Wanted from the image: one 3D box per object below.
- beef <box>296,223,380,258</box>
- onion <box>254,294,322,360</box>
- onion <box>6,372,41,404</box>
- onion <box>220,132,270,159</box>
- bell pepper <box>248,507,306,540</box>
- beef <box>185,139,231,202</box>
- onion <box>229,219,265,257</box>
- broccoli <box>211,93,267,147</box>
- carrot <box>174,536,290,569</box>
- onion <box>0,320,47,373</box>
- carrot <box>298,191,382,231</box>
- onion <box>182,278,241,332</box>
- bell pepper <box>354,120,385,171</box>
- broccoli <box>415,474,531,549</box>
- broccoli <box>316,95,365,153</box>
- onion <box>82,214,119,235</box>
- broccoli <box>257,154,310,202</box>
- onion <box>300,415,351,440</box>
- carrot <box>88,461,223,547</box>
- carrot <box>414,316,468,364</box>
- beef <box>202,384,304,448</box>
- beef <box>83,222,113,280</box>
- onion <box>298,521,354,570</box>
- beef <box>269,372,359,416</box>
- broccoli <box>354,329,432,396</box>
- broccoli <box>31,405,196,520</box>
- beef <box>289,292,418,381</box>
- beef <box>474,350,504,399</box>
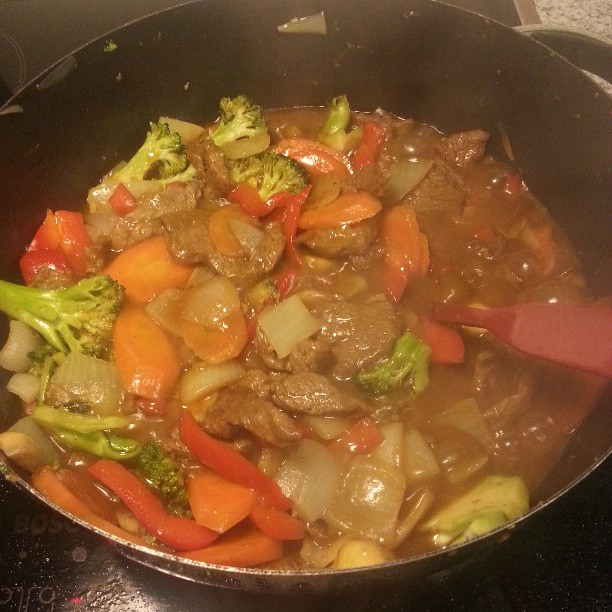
[{"bbox_3d":[0.148,-0.299,3.247,0.237,0.182,0.066,7,38,1],"label":"beef"},{"bbox_3d":[-0.080,0.085,3.074,0.255,0.072,0.272,-34,89,-19],"label":"onion"},{"bbox_3d":[-1.184,0.332,2.976,0.121,0.129,0.128,3,63,31],"label":"onion"},{"bbox_3d":[-0.294,-0.796,3.463,0.189,0.049,0.139,-20,63,-12],"label":"onion"},{"bbox_3d":[-0.105,0.838,2.686,0.154,0.125,0.044,31,102,-9],"label":"bell pepper"},{"bbox_3d":[-0.474,-0.671,3.399,0.200,0.075,0.324,-8,92,40],"label":"beef"},{"bbox_3d":[-0.268,-0.323,3.210,0.170,0.041,0.132,45,73,0],"label":"onion"},{"bbox_3d":[-0.349,-0.945,3.557,0.268,0.121,0.247,-33,77,-17],"label":"broccoli"},{"bbox_3d":[-0.264,0.923,2.637,0.257,0.165,0.078,5,94,-2],"label":"carrot"},{"bbox_3d":[-1.238,0.172,3.004,0.158,0.080,0.226,0,87,-6],"label":"onion"},{"bbox_3d":[0.156,-0.447,3.287,0.307,0.074,0.203,-21,35,7],"label":"carrot"},{"bbox_3d":[-0.407,-0.001,3.047,0.197,0.062,0.219,26,70,8],"label":"onion"},{"bbox_3d":[0.337,-0.849,3.656,0.056,0.208,0.271,23,50,-15],"label":"bell pepper"},{"bbox_3d":[0.694,0.819,2.808,0.385,0.105,0.252,-26,32,-13],"label":"broccoli"},{"bbox_3d":[0.192,-0.942,3.817,0.211,0.143,0.349,-14,89,-2],"label":"broccoli"},{"bbox_3d":[-1.017,-0.418,3.439,0.129,0.053,0.164,5,55,10],"label":"onion"},{"bbox_3d":[-0.152,-0.619,3.382,0.238,0.260,0.106,-3,80,21],"label":"broccoli"},{"bbox_3d":[0.093,0.500,2.968,0.125,0.047,0.131,25,35,20],"label":"onion"},{"bbox_3d":[-0.583,0.778,2.712,0.350,0.102,0.099,36,66,24],"label":"carrot"},{"bbox_3d":[0.640,0.156,3.224,0.153,0.080,0.258,-26,66,-6],"label":"carrot"},{"bbox_3d":[-0.227,0.449,2.850,0.337,0.105,0.261,4,75,12],"label":"beef"},{"bbox_3d":[-0.969,-0.262,3.242,0.137,0.067,0.217,-17,68,18],"label":"beef"},{"bbox_3d":[0.110,0.911,2.801,0.170,0.059,0.176,-37,97,29],"label":"onion"},{"bbox_3d":[0.030,0.374,2.958,0.288,0.096,0.200,17,62,3],"label":"beef"},{"bbox_3d":[0.419,0.261,3.119,0.249,0.086,0.291,-19,61,-2],"label":"broccoli"},{"bbox_3d":[-0.796,0.644,2.804,0.485,0.170,0.162,31,83,-3],"label":"broccoli"},{"bbox_3d":[0.211,0.141,3.139,0.457,0.111,0.346,-31,73,-3],"label":"beef"},{"bbox_3d":[0.824,0.315,3.189,0.102,0.047,0.205,3,72,4],"label":"beef"}]
